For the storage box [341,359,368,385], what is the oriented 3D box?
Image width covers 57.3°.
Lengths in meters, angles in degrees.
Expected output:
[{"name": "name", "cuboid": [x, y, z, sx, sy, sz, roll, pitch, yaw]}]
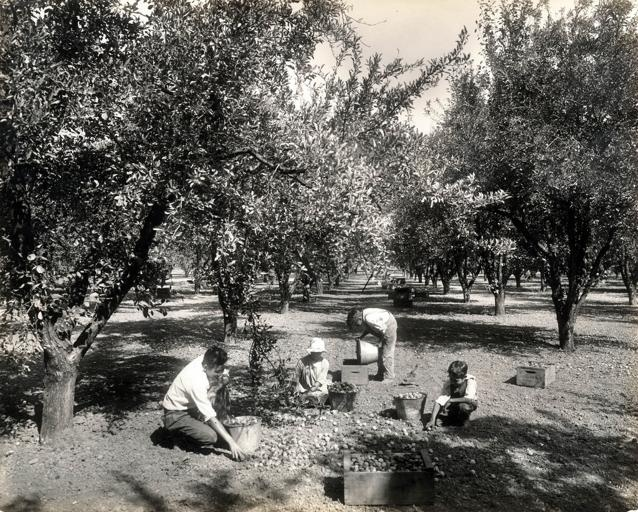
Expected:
[{"name": "storage box", "cuboid": [0.827, 2.560, 13.042, 0.446, 0.327, 0.477, 1, -3, 4]}]

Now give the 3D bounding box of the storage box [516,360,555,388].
[{"name": "storage box", "cuboid": [4.859, 2.651, 13.078, 0.480, 0.352, 0.716, -4, -6, 32]}]

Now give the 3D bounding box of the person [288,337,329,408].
[{"name": "person", "cuboid": [-0.113, 2.235, 11.469, 0.753, 1.191, 0.783, 13, 12, 42]}]

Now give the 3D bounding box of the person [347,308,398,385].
[{"name": "person", "cuboid": [1.369, 1.925, 13.447, 1.141, 1.625, 1.126, -4, 12, -4]}]

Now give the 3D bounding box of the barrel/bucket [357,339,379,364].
[{"name": "barrel/bucket", "cuboid": [1.125, 2.204, 13.648, 0.383, 0.586, 0.478, -2, 22, -16]}]

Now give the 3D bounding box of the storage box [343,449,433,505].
[{"name": "storage box", "cuboid": [1.008, 3.228, 8.372, 1.262, 0.581, 0.299, 1, 8, 3]}]
